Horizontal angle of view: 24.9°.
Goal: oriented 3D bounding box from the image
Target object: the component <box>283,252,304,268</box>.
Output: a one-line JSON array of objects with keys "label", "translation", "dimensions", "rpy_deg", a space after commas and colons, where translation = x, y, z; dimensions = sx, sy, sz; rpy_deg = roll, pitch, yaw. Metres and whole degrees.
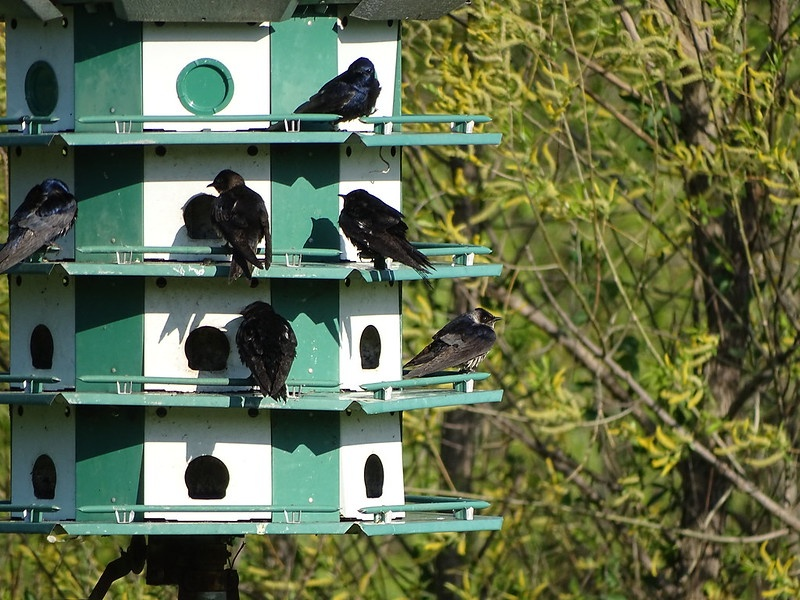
[{"label": "component", "translation": [-0.843, -0.320, 14.560], "dimensions": [0.115, 0.129, 0.120], "rpy_deg": [-4, 8, -34]}]

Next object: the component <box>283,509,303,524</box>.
[{"label": "component", "translation": [-0.847, 1.699, 14.380], "dimensions": [0.101, 0.082, 0.109], "rpy_deg": [0, 2, -31]}]

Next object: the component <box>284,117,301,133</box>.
[{"label": "component", "translation": [-0.853, -1.394, 14.416], "dimensions": [0.114, 0.095, 0.096], "rpy_deg": [-1, 3, -1]}]

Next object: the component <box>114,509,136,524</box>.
[{"label": "component", "translation": [-2.156, 1.689, 14.217], "dimensions": [0.112, 0.087, 0.120], "rpy_deg": [0, 0, -1]}]

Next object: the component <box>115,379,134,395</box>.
[{"label": "component", "translation": [-2.173, 0.684, 14.343], "dimensions": [0.108, 0.128, 0.130], "rpy_deg": [-2, -2, 9]}]

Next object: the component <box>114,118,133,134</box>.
[{"label": "component", "translation": [-2.193, -1.376, 14.420], "dimensions": [0.106, 0.101, 0.129], "rpy_deg": [-6, -1, 26]}]
